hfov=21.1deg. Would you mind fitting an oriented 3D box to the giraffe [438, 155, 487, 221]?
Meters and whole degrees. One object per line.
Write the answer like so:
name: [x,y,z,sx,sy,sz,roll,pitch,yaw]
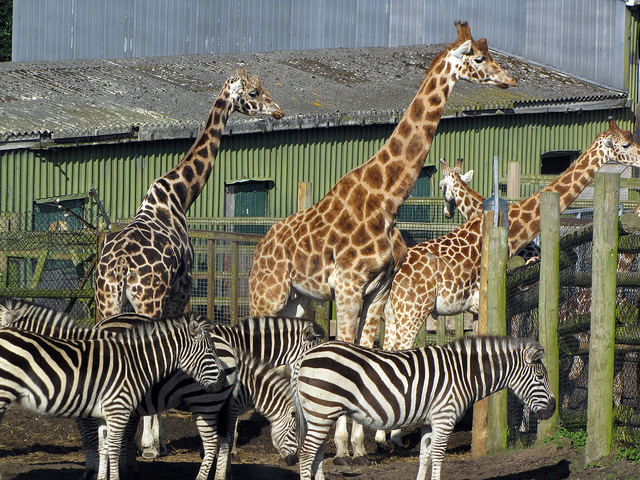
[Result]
giraffe: [2.628,-0.906,31.752,0.559,1.515,0.734,0,6,16]
